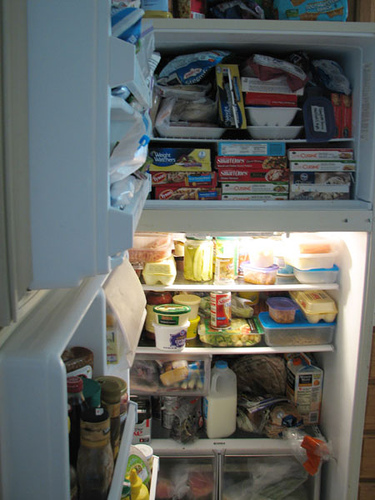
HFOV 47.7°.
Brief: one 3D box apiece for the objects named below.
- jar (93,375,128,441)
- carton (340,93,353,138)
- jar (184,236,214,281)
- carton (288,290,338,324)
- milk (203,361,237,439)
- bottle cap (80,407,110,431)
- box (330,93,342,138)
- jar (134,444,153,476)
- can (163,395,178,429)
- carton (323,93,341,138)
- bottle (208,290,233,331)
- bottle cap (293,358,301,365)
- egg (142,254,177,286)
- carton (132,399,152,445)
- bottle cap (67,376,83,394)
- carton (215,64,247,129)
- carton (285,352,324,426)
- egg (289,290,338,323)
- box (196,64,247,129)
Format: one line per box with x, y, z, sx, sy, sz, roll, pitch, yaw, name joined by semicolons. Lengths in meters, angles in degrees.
-0.124;0.303;0.835;0.101;0.104;0.099;3;0;0;jar
0.619;-0.520;1.648;0.035;0.128;0.141;0;9;11;carton
0.051;0.039;1.881;0.132;0.207;0.114;-3;10;-4;jar
0.570;0.256;1.912;0.094;0.064;0.172;1;14;-8;carton
0.151;0.670;1.901;0.125;0.324;0.130;0;10;11;milk
-0.135;0.245;0.613;0.030;0.018;0.030;3;6;-2;bottle cap
0.580;-0.523;1.650;0.042;0.171;0.022;1;10;18;box
-0.143;0.726;1.475;0.080;0.085;0.078;2;4;0;jar
-0.083;0.744;1.945;0.070;0.160;0.041;-3;10;-3;can
0.587;-0.536;1.663;0.055;0.161;0.038;5;11;36;carton
0.146;0.263;1.885;0.096;0.165;0.093;-1;7;0;bottle
0.511;0.525;1.982;0.025;0.028;0.033;1;-3;4;bottle cap
-0.125;0.077;1.871;0.150;0.095;0.243;1;16;-3;egg
-0.197;0.752;1.830;0.076;0.158;0.168;-2;10;0;carton
-0.171;0.203;0.638;0.021;0.013;0.021;5;-1;-7;bottle cap
0.139;-0.583;1.618;0.090;0.240;0.138;-10;12;-39;carton
0.557;0.660;2.024;0.176;0.319;0.153;-1;10;9;carton
0.570;0.252;1.910;0.090;0.059;0.165;1;13;-5;egg
0.136;-0.571;1.533;0.203;0.307;0.072;-3;3;3;box
